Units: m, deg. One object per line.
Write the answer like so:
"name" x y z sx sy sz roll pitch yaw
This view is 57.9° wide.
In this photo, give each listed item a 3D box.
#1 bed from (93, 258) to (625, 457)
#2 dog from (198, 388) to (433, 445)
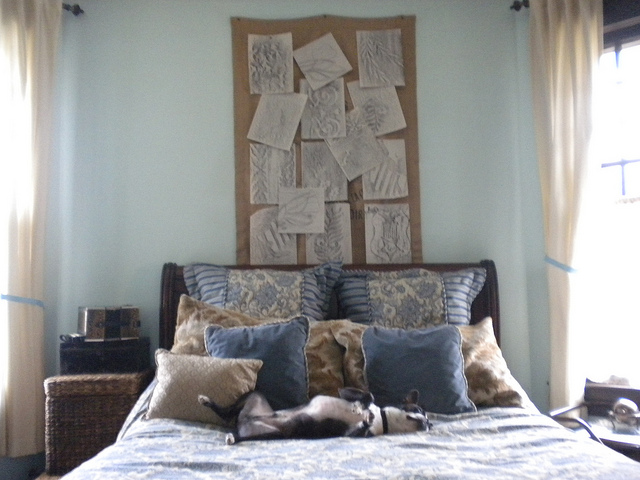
"bed" 0.147 0.540 3.118 2.132 0.778 1.294 -1 2 1
"dog" 0.017 0.874 2.776 0.653 0.272 0.437 6 -22 -2
